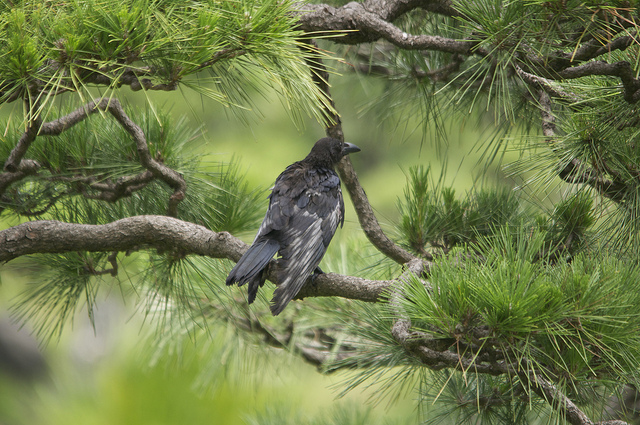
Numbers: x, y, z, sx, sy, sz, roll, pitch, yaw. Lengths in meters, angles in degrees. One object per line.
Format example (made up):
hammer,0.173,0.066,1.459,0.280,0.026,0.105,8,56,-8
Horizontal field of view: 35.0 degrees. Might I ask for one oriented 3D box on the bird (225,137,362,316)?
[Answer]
bird,-0.128,0.030,4.797,0.358,0.755,0.843,-4,3,35
